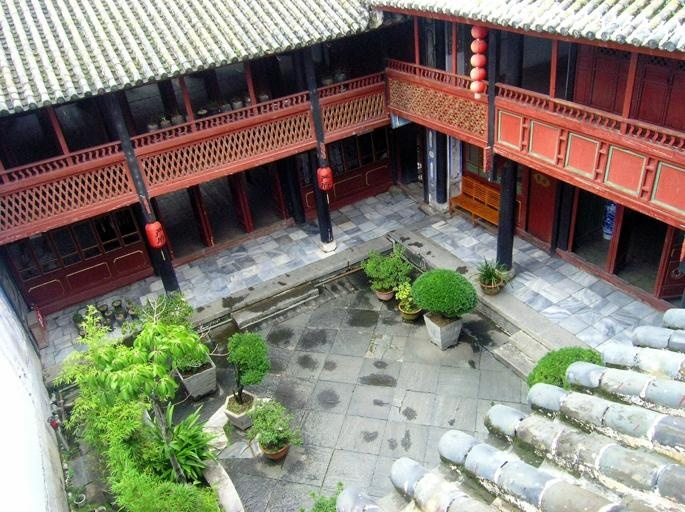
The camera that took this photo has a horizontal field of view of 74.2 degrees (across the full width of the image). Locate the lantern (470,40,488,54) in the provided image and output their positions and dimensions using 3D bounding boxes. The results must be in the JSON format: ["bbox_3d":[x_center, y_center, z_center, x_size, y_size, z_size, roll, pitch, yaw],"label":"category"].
[{"bbox_3d":[3.060,-4.670,10.205,0.296,0.311,0.260,12,6,0],"label":"lantern"}]

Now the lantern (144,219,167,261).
[{"bbox_3d":[-4.853,-0.440,11.951,0.401,1.051,0.529,-24,42,-21],"label":"lantern"}]

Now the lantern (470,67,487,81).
[{"bbox_3d":[3.147,-4.233,10.599,0.325,0.393,0.336,7,41,15],"label":"lantern"}]

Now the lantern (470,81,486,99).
[{"bbox_3d":[3.208,-4.003,10.850,0.344,0.383,0.381,-3,48,5],"label":"lantern"}]

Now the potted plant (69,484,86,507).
[{"bbox_3d":[-5.442,4.925,9.326,0.276,0.117,0.306,-17,37,-28],"label":"potted plant"}]
